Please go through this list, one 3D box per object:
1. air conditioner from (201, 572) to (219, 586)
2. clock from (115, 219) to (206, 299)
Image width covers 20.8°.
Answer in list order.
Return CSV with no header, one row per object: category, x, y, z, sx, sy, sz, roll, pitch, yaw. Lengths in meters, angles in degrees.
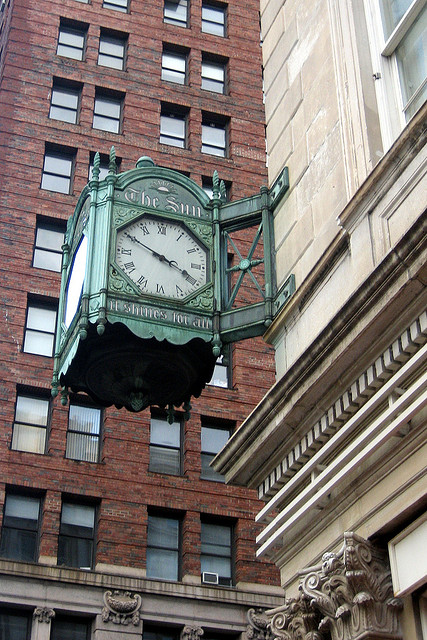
air conditioner,-0.175,8.134,36.261,0.570,0.451,0.315,10,-26,-16
clock,-0.683,-0.677,13.943,0.941,1.028,0.064,16,-49,-22
